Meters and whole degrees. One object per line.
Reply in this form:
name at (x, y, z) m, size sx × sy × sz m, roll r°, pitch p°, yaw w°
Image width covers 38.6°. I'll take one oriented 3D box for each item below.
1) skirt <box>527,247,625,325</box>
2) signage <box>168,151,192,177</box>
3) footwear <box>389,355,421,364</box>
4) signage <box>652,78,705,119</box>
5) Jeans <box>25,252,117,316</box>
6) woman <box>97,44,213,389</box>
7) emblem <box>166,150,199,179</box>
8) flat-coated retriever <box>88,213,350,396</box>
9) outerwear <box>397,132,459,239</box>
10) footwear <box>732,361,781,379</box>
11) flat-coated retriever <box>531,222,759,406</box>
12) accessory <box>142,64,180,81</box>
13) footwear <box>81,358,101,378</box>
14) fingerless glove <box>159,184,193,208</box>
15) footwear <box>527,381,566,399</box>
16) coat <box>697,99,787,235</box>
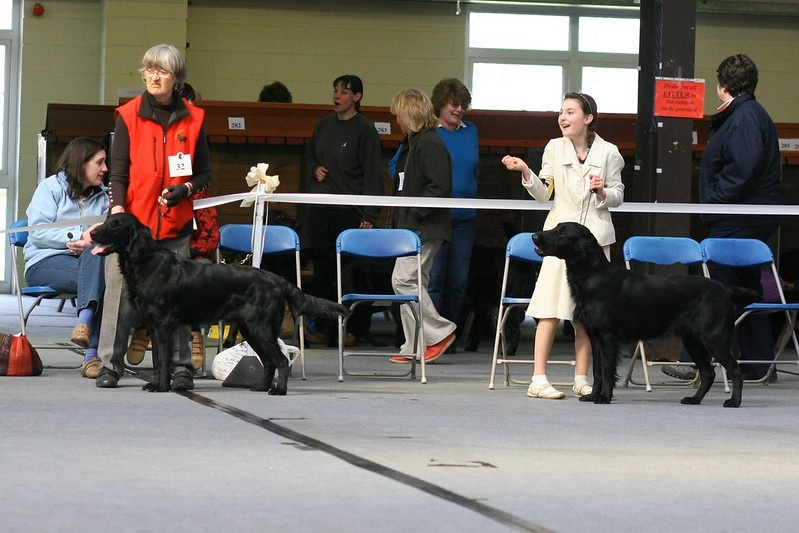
skirt at (1.081, 0.094, 7.679) m, size 0.534 × 0.564 × 0.632 m, roll 3°, pitch -1°, yaw -25°
signage at (-1.419, -0.655, 7.313) m, size 0.199 × 0.167 × 0.024 m, roll -2°, pitch 1°, yaw -10°
footwear at (0.012, 0.765, 9.347) m, size 0.289 × 0.092 × 0.094 m, roll 4°, pitch -4°, yaw -9°
signage at (2.319, -1.410, 9.525) m, size 0.426 × 0.285 × 0.055 m, roll 0°, pitch 8°, yaw 0°
Jeans at (-2.313, 0.127, 8.037) m, size 0.603 × 0.530 × 0.439 m, roll 9°, pitch -7°, yaw -22°
woman at (-1.598, -0.328, 7.447) m, size 0.831 × 2.150 × 0.722 m, roll -2°, pitch 7°, yaw -34°
emblem at (-1.409, -0.658, 7.334) m, size 0.239 × 0.201 × 0.030 m, roll -2°, pitch 1°, yaw -12°
flat-coated retriever at (-1.198, 0.270, 7.296) m, size 1.955 × 1.011 × 0.512 m, roll 7°, pitch 0°, yaw -43°
outerwear at (0.218, -0.643, 9.084) m, size 0.588 × 0.929 × 0.925 m, roll 2°, pitch 5°, yaw -3°
footwear at (2.677, 0.792, 8.574) m, size 0.352 × 0.075 × 0.326 m, roll -1°, pitch -2°, yaw 8°
flat-coated retriever at (1.612, 0.348, 7.364) m, size 1.806 × 1.075 × 0.409 m, roll 5°, pitch -6°, yaw -23°
accessory at (-1.507, -1.232, 7.282) m, size 0.116 × 0.045 × 0.144 m, roll 4°, pitch -1°, yaw 35°
footwear at (-2.076, 0.691, 7.692) m, size 0.130 × 0.088 × 0.236 m, roll 4°, pitch -9°, yaw -31°
fingerless glove at (-1.429, -0.462, 7.282) m, size 0.206 × 0.150 × 0.200 m, roll -1°, pitch 4°, yaw -16°
footwear at (0.957, 0.815, 7.502) m, size 0.211 × 0.067 × 0.110 m, roll -4°, pitch -5°, yaw 44°
coat at (2.536, -0.732, 8.476) m, size 0.599 × 1.078 × 0.466 m, roll 1°, pitch 4°, yaw 12°
